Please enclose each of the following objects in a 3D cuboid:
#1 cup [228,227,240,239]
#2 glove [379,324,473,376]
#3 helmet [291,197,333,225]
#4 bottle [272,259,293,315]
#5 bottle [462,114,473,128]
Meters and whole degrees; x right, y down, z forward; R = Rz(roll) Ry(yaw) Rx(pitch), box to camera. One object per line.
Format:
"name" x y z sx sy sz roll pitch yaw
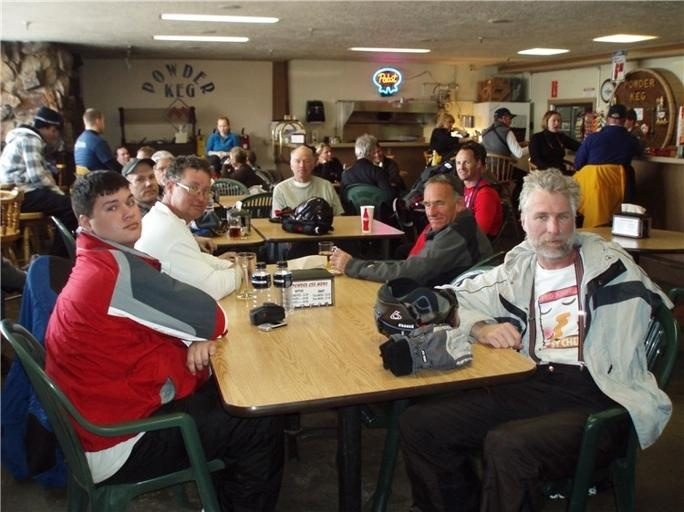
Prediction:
"cup" -0.801 -0.176 3.854 0.086 0.059 0.061 3 1 -11
"glove" 0.284 0.322 1.827 0.252 0.101 0.174 0 2 -17
"helmet" -0.244 -0.362 4.220 0.282 0.200 0.208 -9 7 -20
"bottle" -0.263 0.143 2.347 0.076 0.228 0.085 -5 12 -3
"bottle" 2.912 -3.122 11.954 0.276 0.268 0.266 0 3 1
